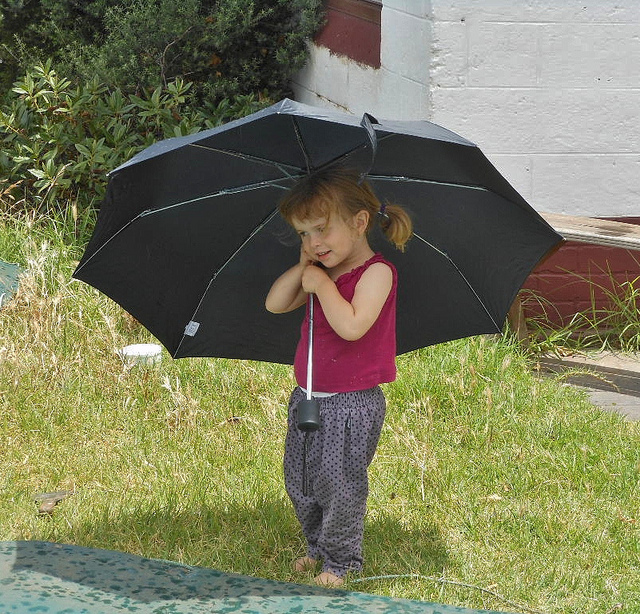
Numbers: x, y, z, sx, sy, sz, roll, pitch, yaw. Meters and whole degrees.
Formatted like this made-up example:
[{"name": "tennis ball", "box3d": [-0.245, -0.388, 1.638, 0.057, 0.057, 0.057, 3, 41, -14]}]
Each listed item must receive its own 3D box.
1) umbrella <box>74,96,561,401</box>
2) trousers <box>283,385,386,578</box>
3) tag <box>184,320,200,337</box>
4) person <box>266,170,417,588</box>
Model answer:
[{"name": "umbrella", "box3d": [-0.033, -0.202, 3.012, 1.633, 1.095, 0.823, 1, 17, 8]}, {"name": "trousers", "box3d": [0.056, 0.640, 3.094, 0.369, 0.742, 0.277, -1, 17, 3]}, {"name": "tag", "box3d": [-0.497, 0.086, 3.260, 0.046, 0.069, 0.017, 19, 20, -7]}, {"name": "person", "box3d": [0.104, 0.274, 3.024, 0.481, 1.516, 0.565, -4, 17, -7]}]
